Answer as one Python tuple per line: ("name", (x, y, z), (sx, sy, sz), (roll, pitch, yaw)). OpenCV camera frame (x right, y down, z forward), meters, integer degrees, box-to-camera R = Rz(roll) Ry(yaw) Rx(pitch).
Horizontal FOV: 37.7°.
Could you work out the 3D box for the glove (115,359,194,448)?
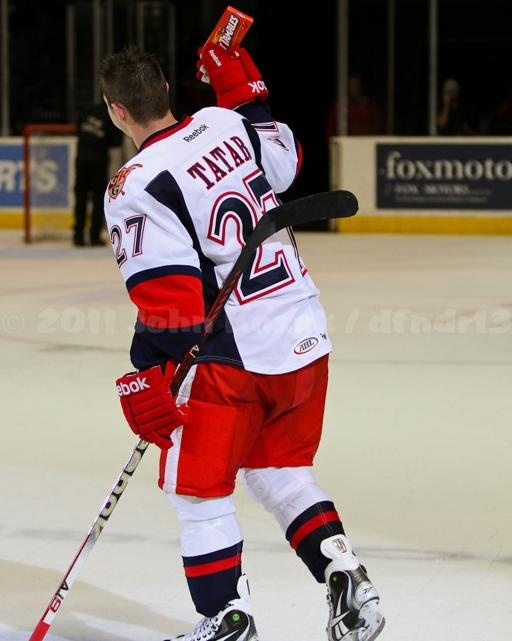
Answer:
("glove", (-0.161, 0.153, 1.143), (0.039, 0.114, 0.116), (-27, 43, -22))
